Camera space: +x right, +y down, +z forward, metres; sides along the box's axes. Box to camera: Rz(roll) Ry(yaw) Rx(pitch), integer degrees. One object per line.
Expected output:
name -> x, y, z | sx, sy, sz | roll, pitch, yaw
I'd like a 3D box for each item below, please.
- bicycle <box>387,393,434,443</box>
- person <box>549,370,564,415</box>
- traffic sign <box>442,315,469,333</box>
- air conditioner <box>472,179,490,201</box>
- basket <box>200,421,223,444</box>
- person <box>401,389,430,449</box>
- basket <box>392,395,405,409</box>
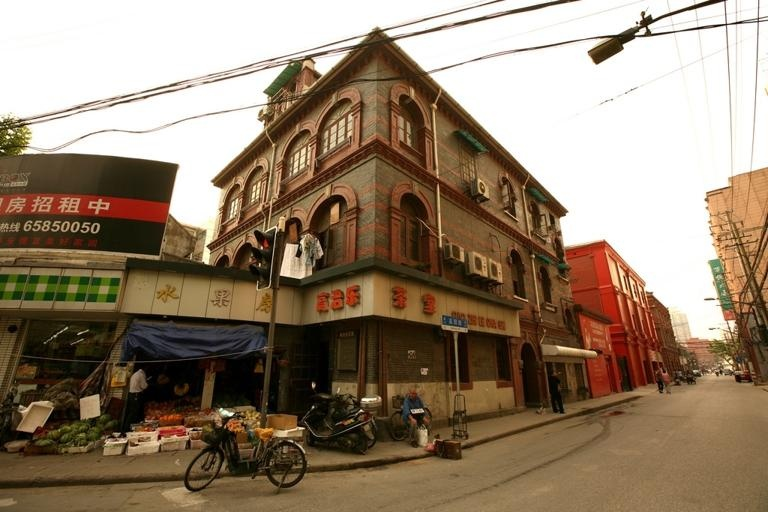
bicycle -> 1.086, 6.110, 16.684 | 1.622, 1.888, 1.525 | 6, -15, -26
person -> 8.725, 6.929, 22.332 | 0.702, 1.794, 1.369 | -2, -6, 18
traffic sign -> 2.849, 2.782, 17.869 | 1.086, 0.478, 0.140 | 17, -27, -38
air conditioner -> 4.977, -3.355, 22.947 | 0.630, 1.007, 1.144 | -23, -36, 34
basket -> -4.849, 4.968, 12.395 | 0.557, 0.463, 0.549 | 1, -12, -9
person -> 1.153, 5.949, 16.355 | 1.027, 1.877, 1.218 | 0, -6, 1
basket -> 0.532, 5.719, 17.118 | 0.500, 0.449, 0.394 | -4, -13, 26
